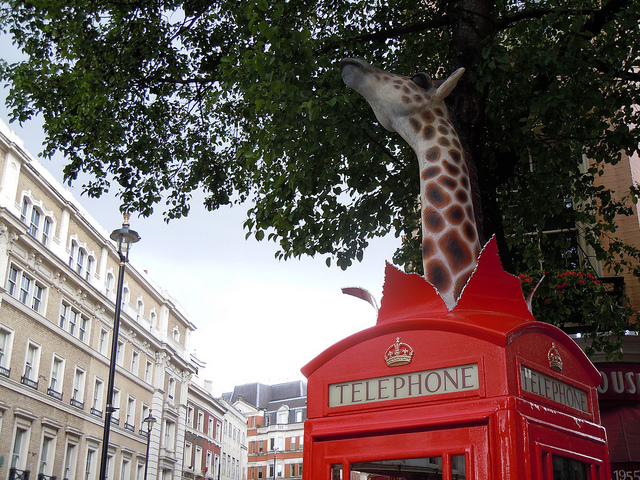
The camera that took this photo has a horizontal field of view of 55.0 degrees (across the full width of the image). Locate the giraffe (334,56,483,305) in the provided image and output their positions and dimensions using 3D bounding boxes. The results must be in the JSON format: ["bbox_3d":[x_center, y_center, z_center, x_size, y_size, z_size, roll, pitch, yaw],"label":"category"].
[{"bbox_3d":[0.988,-0.597,5.617,1.032,2.887,0.795,15,-45,-14],"label":"giraffe"}]
